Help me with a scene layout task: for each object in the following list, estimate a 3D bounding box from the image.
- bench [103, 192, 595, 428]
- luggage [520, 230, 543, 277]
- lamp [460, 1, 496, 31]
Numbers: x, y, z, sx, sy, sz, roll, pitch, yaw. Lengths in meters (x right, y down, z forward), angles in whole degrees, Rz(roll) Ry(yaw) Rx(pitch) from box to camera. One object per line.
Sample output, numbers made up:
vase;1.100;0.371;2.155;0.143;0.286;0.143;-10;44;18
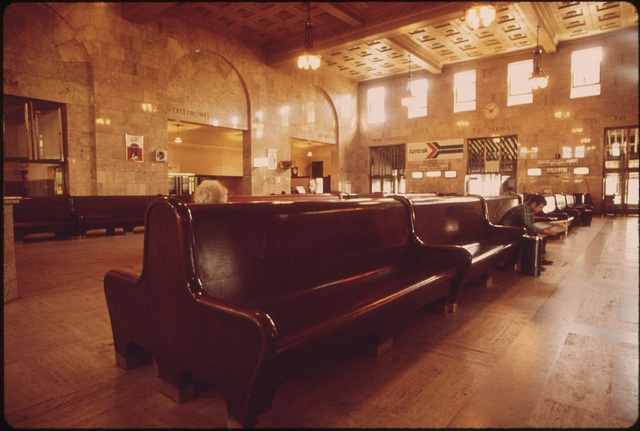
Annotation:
bench;-0.066;0.740;4.747;3.659;2.034;1.473;-6;6;-33
luggage;3.279;0.575;6.825;0.301;0.702;0.307;0;9;16
lamp;3.560;-4.423;9.892;0.581;0.462;0.941;-2;5;6
